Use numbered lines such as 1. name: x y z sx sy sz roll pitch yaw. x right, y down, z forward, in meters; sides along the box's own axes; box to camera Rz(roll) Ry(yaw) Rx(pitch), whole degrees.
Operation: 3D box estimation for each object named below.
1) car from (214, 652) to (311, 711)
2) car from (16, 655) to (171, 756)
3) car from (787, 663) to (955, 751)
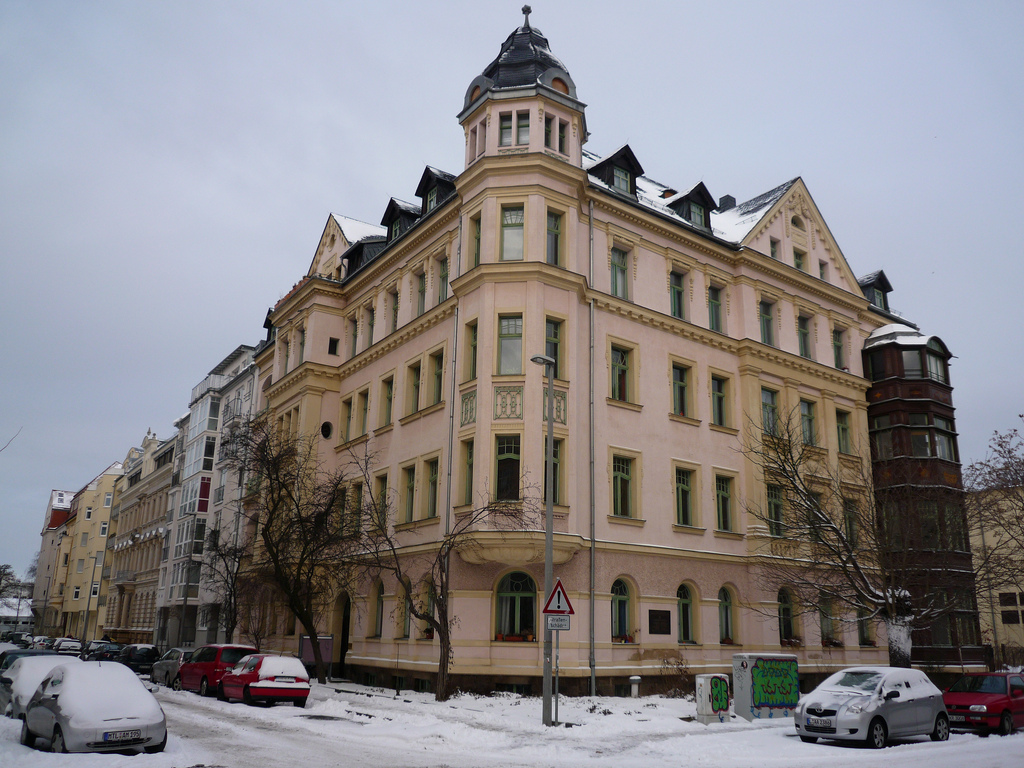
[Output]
1. car: -8.449 10.053 27.272 1.632 1.159 2.786 16 -22 -34
2. car: -9.358 7.230 18.056 3.190 1.958 1.593 -10 -24 22
3. car: 9.900 8.896 22.154 4.188 2.060 1.454 11 -25 -26
